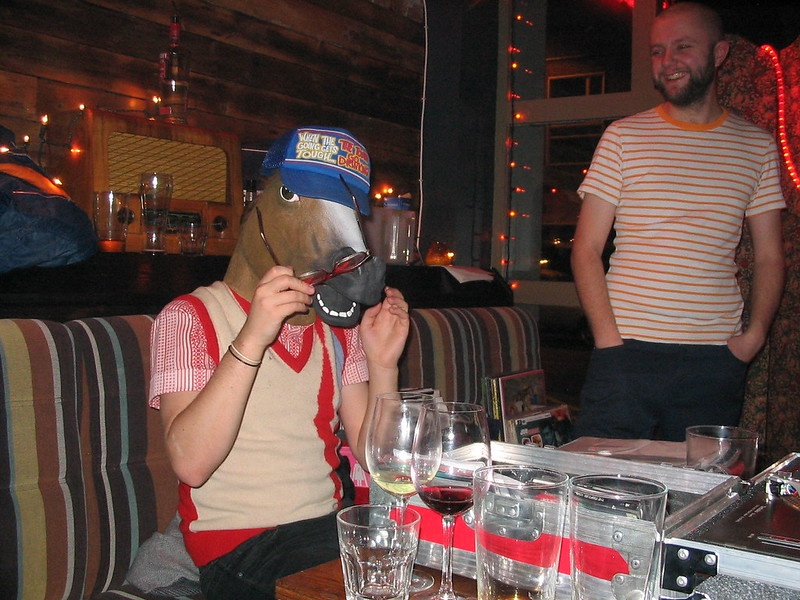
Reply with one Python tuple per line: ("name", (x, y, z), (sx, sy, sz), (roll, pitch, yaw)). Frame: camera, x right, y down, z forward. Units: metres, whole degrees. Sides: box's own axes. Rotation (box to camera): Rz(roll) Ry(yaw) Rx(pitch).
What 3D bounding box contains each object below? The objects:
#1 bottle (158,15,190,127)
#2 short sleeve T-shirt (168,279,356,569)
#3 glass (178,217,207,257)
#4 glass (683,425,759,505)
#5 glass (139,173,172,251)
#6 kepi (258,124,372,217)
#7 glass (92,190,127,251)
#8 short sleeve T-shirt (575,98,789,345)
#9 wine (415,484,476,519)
("bottle", (-0.922, -0.930, 2.702), (0.114, 0.460, 0.276), (0, 4, -18))
("short sleeve T-shirt", (-0.318, 0.319, 1.717), (0.530, 0.681, 0.393), (3, -13, -22))
("glass", (-0.741, -0.216, 2.358), (0.105, 0.110, 0.099), (-5, 1, -41))
("glass", (0.690, 0.345, 1.438), (0.144, 0.152, 0.144), (0, 0, -26))
("glass", (-0.816, -0.288, 2.209), (0.095, 0.258, 0.104), (-1, 5, -28))
("kepi", (-0.187, -0.345, 1.621), (0.254, 0.164, 0.320), (7, 18, -39))
("glass", (-0.927, -0.252, 2.120), (0.101, 0.193, 0.146), (0, 4, -20))
("short sleeve T-shirt", (0.980, -0.239, 2.292), (0.676, 0.763, 0.201), (0, 4, -13))
("wine", (0.080, 0.353, 1.160), (0.088, 0.066, 0.093), (0, 4, -10))
